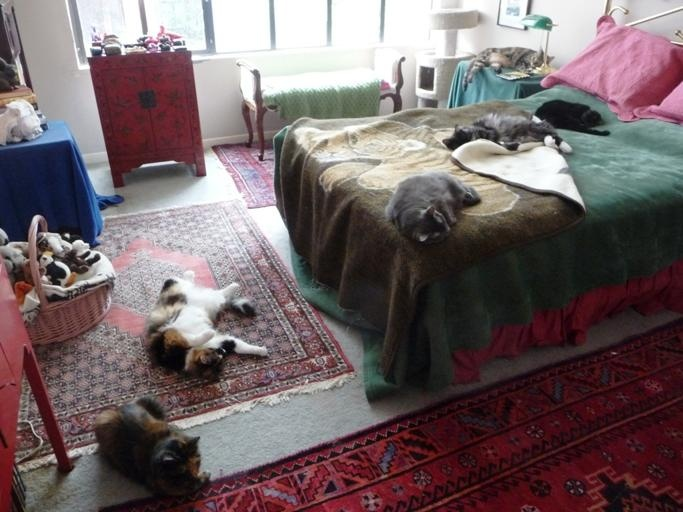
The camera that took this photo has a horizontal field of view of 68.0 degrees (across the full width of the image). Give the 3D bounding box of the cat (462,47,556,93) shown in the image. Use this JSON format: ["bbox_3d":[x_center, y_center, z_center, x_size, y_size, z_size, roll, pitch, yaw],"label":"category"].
[{"bbox_3d":[1.458,-1.601,4.376,0.970,0.219,0.563,-12,-4,-25],"label":"cat"}]

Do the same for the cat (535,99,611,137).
[{"bbox_3d":[1.525,-0.926,3.396,0.606,0.195,0.273,12,31,13],"label":"cat"}]

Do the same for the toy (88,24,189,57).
[{"bbox_3d":[-1.670,-1.772,4.167,0.739,0.184,0.360,-10,31,-18],"label":"toy"}]

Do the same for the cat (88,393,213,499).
[{"bbox_3d":[-0.792,0.777,2.141,0.472,0.251,0.293,31,38,23],"label":"cat"}]

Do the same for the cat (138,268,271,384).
[{"bbox_3d":[-0.777,0.330,2.663,0.483,0.228,0.574,-8,41,-20],"label":"cat"}]

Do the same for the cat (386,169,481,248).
[{"bbox_3d":[0.407,-0.263,2.414,0.346,0.144,0.392,2,37,19],"label":"cat"}]

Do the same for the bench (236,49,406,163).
[{"bbox_3d":[-0.186,-1.573,5.197,1.548,0.793,0.734,-10,20,-13],"label":"bench"}]

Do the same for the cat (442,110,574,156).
[{"bbox_3d":[0.993,-0.756,3.101,0.506,0.151,0.356,3,15,2],"label":"cat"}]

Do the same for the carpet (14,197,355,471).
[{"bbox_3d":[-0.836,0.576,2.832,1.257,0.020,1.400,-12,36,-14],"label":"carpet"}]
